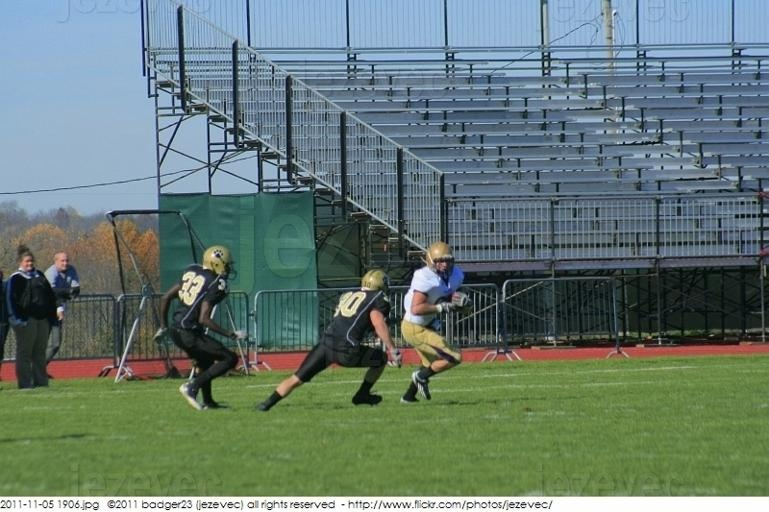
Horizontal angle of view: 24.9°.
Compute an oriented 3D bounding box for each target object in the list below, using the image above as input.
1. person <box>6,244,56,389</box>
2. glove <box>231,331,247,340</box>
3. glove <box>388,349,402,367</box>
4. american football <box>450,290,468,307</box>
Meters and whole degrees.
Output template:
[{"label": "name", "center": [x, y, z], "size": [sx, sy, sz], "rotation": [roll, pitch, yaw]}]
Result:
[{"label": "person", "center": [-7.709, 1.488, 38.569], "size": [0.796, 2.793, 1.058], "rotation": [11, 19, 35]}, {"label": "glove", "center": [-2.892, 1.611, 35.815], "size": [0.268, 0.182, 0.265], "rotation": [-3, 4, 1]}, {"label": "glove", "center": [0.303, 2.128, 35.996], "size": [0.275, 0.410, 0.169], "rotation": [9, 27, 19]}, {"label": "american football", "center": [1.645, 0.873, 36.298], "size": [0.335, 0.246, 0.311], "rotation": [6, 7, 23]}]
